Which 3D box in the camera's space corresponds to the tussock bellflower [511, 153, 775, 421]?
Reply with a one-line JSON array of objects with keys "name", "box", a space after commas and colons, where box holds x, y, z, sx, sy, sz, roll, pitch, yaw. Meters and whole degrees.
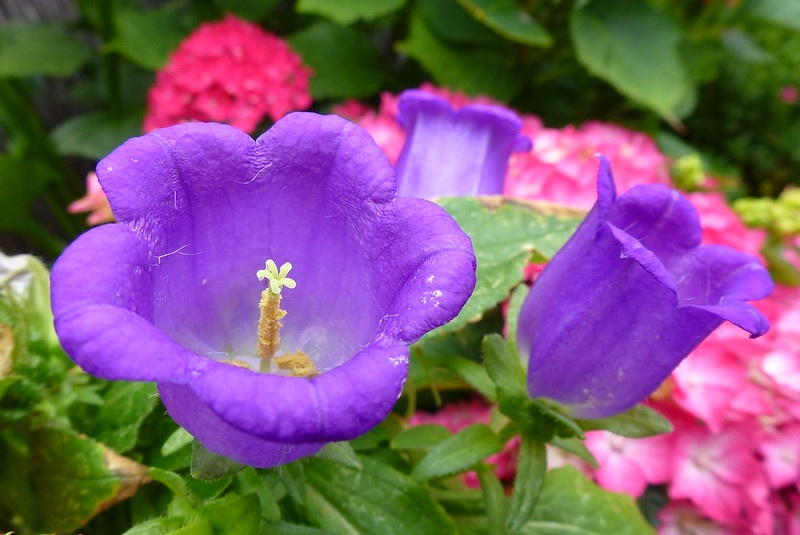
[{"name": "tussock bellflower", "box": [0.300, 0.035, 1.012, 0.265, 0.232, 0.229, 3, 52, -11]}]

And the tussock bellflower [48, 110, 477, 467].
[{"name": "tussock bellflower", "box": [-0.165, 0.019, 0.995, 0.398, 0.265, 0.404, 21, 55, 11]}]

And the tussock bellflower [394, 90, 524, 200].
[{"name": "tussock bellflower", "box": [0.091, -0.143, 1.106, 0.152, 0.109, 0.151, 4, 15, -24]}]
